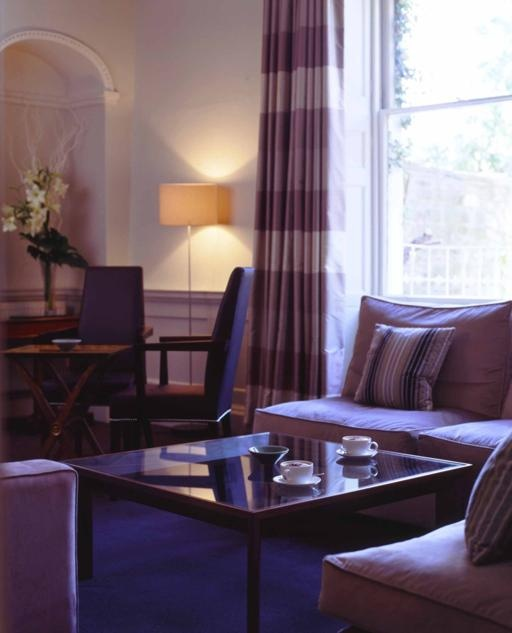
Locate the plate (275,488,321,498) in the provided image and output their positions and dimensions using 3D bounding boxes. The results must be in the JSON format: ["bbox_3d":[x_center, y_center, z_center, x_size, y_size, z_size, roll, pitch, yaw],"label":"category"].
[{"bbox_3d":[0.106,0.464,1.569,0.117,0.007,0.107,-1,1,3],"label":"plate"}]

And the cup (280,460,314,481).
[{"bbox_3d":[0.111,0.428,1.659,0.084,0.046,0.127,-1,1,6],"label":"cup"}]

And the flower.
[{"bbox_3d":[-1.469,-0.831,4.296,0.533,1.572,0.924,-1,1,-16],"label":"flower"}]

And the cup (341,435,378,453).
[{"bbox_3d":[0.340,0.423,1.965,0.089,0.043,0.071,2,-5,-7],"label":"cup"}]

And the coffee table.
[{"bbox_3d":[-1.028,0.499,3.338,0.508,0.744,1.441,-1,1,-20],"label":"coffee table"}]
